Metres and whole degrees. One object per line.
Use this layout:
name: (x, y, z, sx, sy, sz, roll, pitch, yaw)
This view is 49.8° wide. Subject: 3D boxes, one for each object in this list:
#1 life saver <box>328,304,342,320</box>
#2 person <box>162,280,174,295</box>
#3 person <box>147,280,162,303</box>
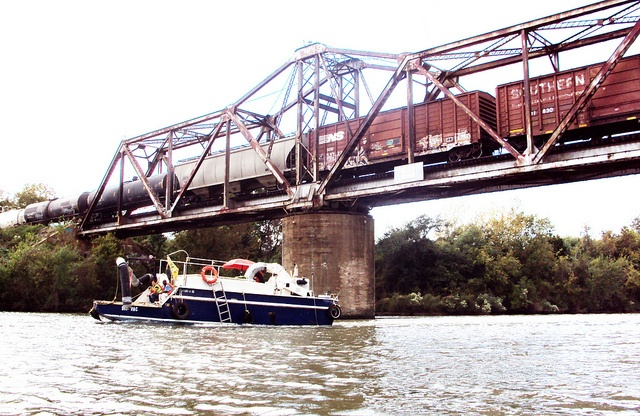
life saver: (0.801, 5.920, 38.966, 0.359, 0.985, 0.947, -4, -23, 41)
person: (-7.983, 4.207, 36.460, 0.233, 0.739, 1.029, 8, -13, -39)
person: (-8.890, 4.619, 37.277, 0.708, 1.409, 0.798, -14, -26, 10)
